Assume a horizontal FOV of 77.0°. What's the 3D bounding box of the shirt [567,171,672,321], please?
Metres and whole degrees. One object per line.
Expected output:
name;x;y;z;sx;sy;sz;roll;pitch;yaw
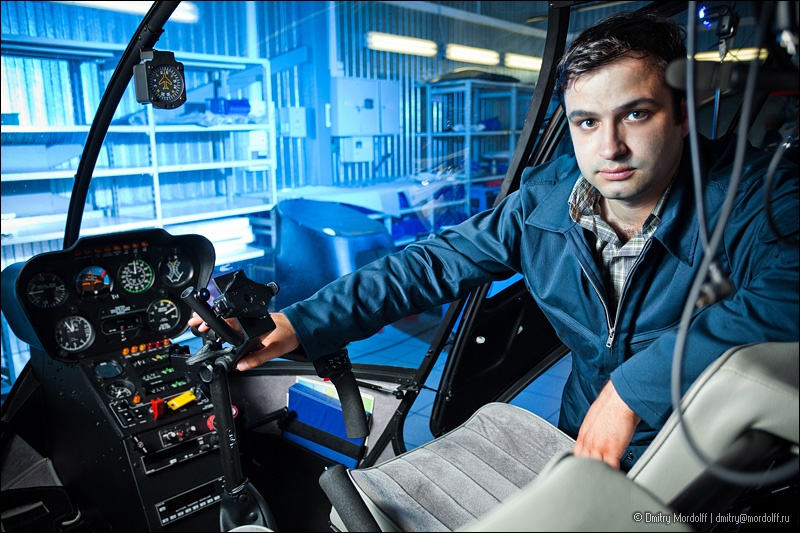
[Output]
shirt;0.629;-0.052;1.527;0.298;0.394;0.147;1;-5;18

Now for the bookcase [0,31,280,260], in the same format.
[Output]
bookcase;-2.019;-0.908;3.911;1.945;1.588;0.558;-17;18;-26
